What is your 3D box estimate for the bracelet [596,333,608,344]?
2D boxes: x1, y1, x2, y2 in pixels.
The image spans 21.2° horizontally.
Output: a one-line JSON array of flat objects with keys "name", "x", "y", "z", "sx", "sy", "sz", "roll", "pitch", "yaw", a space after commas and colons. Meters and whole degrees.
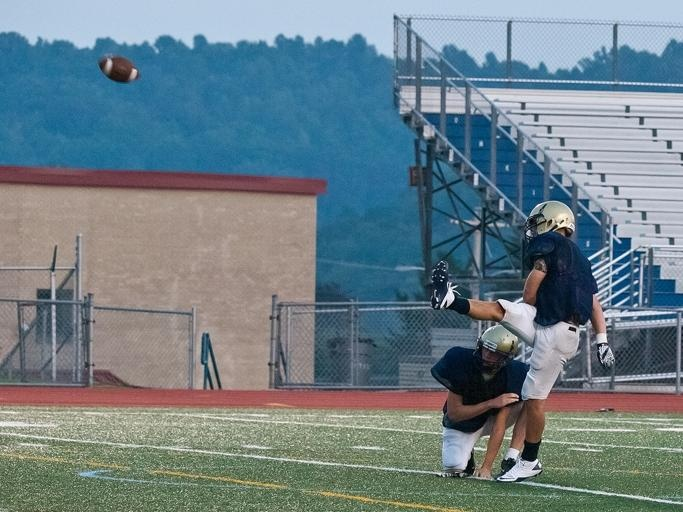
[{"name": "bracelet", "x": 5.374, "y": 1.667, "z": 37.696, "sx": 0.205, "sy": 0.193, "sz": 0.206, "roll": 1, "pitch": 1, "yaw": 16}]

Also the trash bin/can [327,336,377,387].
[{"name": "trash bin/can", "x": 0.259, "y": 2.640, "z": 47.102, "sx": 0.949, "sy": 1.424, "sz": 1.017, "roll": 2, "pitch": -3, "yaw": -37}]

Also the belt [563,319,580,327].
[{"name": "belt", "x": 4.697, "y": 1.339, "z": 37.200, "sx": 0.373, "sy": 0.175, "sz": 0.092, "roll": 3, "pitch": -5, "yaw": -28}]

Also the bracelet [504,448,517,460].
[{"name": "bracelet", "x": 3.446, "y": 4.023, "z": 37.398, "sx": 0.165, "sy": 0.259, "sz": 0.266, "roll": 13, "pitch": -25, "yaw": -17}]
